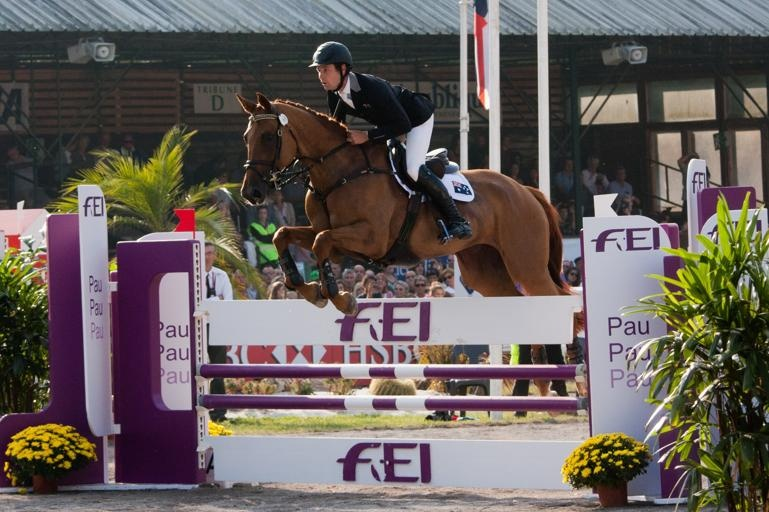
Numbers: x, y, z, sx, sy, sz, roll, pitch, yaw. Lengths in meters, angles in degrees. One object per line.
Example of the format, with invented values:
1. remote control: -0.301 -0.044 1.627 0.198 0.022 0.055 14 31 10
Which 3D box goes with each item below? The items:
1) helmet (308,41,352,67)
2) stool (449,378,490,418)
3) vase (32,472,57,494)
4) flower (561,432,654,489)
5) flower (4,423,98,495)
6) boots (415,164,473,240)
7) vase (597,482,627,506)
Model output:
1. helmet: -0.634 -2.434 20.802 0.417 0.257 0.297 -1 -6 -32
2. stool: 1.116 1.785 23.966 0.695 0.690 0.508 -1 4 -2
3. vase: -4.027 2.706 20.944 0.240 0.187 0.246 0 3 -15
4. flower: 2.572 2.343 20.584 0.890 0.562 0.809 -9 3 -14
5. flower: -3.989 2.374 20.894 0.890 0.729 0.838 3 4 -5
6. boots: 0.649 -0.613 21.260 0.437 0.417 1.267 14 -27 23
7. vase: 2.586 2.761 20.380 0.279 0.209 0.285 1 2 -18
